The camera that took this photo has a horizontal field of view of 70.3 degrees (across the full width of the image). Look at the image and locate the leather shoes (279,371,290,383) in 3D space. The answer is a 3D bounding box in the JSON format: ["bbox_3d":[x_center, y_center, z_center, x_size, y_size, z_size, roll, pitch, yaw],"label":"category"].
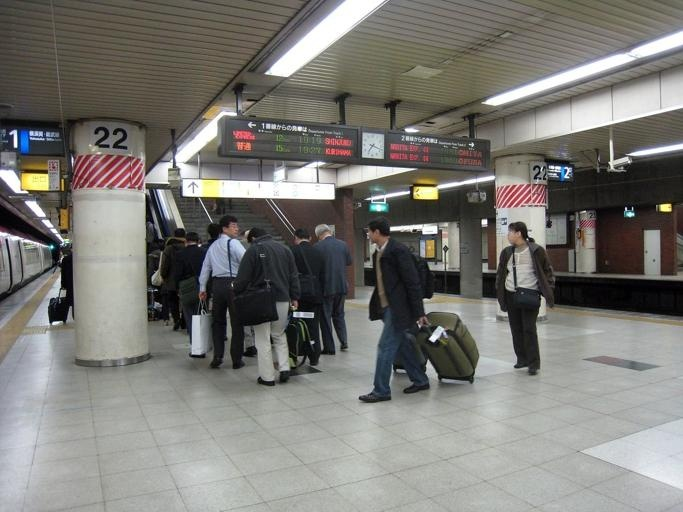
[{"bbox_3d":[-0.709,1.481,5.999,0.114,0.136,0.143,-4,-2,-29],"label":"leather shoes"}]

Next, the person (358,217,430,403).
[{"bbox_3d":[0.602,0.577,5.508,0.738,1.986,0.771,0,3,10],"label":"person"}]

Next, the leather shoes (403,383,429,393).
[{"bbox_3d":[0.864,1.519,5.606,0.303,0.117,0.108,2,-4,-14],"label":"leather shoes"}]

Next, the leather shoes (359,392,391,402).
[{"bbox_3d":[0.363,1.545,5.391,0.346,0.128,0.121,4,-8,-12],"label":"leather shoes"}]

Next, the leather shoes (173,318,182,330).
[{"bbox_3d":[-3.322,1.386,9.839,0.132,0.289,0.108,6,1,0],"label":"leather shoes"}]

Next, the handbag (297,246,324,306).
[{"bbox_3d":[-0.443,0.243,6.869,0.255,0.710,0.443,-9,-9,41],"label":"handbag"}]

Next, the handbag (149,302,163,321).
[{"bbox_3d":[-4.286,1.267,11.176,0.409,0.447,0.393,1,-1,-15],"label":"handbag"}]

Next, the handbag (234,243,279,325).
[{"bbox_3d":[-1.001,0.348,5.690,0.462,0.896,0.318,-2,4,-30],"label":"handbag"}]

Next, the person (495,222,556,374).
[{"bbox_3d":[2.440,0.517,6.467,0.783,1.951,0.563,2,4,41],"label":"person"}]

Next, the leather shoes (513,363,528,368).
[{"bbox_3d":[2.384,1.440,6.471,0.177,0.069,0.063,6,-11,-2],"label":"leather shoes"}]

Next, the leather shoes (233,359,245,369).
[{"bbox_3d":[-1.422,1.481,6.745,0.076,0.107,0.167,2,7,13],"label":"leather shoes"}]

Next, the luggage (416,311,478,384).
[{"bbox_3d":[1.322,1.066,6.003,0.654,0.937,0.606,2,41,41],"label":"luggage"}]

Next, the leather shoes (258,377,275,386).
[{"bbox_3d":[-0.920,1.521,5.937,0.082,0.084,0.221,-1,5,-43],"label":"leather shoes"}]

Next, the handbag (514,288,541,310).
[{"bbox_3d":[2.414,0.561,6.385,0.403,0.268,0.241,1,-14,-1],"label":"handbag"}]
